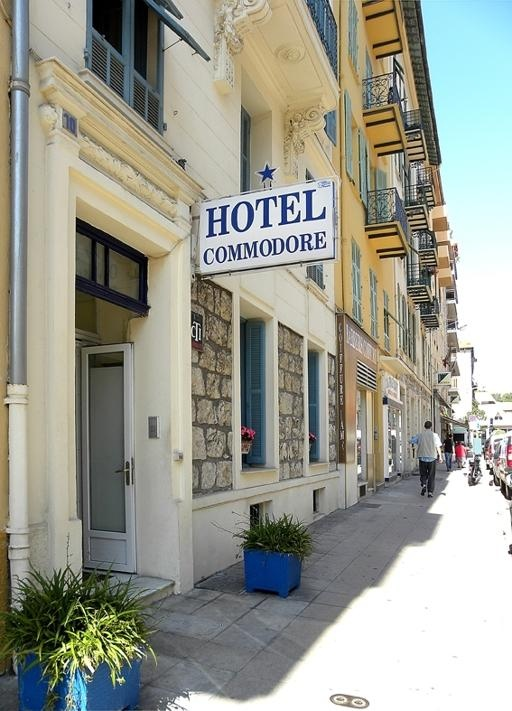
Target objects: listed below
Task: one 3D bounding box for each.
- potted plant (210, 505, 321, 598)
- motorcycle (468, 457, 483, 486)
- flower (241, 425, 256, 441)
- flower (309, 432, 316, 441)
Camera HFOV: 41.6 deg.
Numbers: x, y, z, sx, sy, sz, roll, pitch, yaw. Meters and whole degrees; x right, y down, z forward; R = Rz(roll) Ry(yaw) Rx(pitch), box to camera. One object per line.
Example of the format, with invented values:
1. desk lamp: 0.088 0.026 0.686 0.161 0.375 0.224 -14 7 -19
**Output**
1. potted plant: 0.106 1.773 6.155 0.685 0.650 0.655 5 7 23
2. motorcycle: 5.809 3.093 17.991 0.372 0.666 0.837 1 -4 12
3. flower: -0.104 0.969 8.192 0.140 0.188 0.173 0 7 4
4. flower: 0.989 1.425 11.874 0.112 0.162 0.348 -3 -9 5
